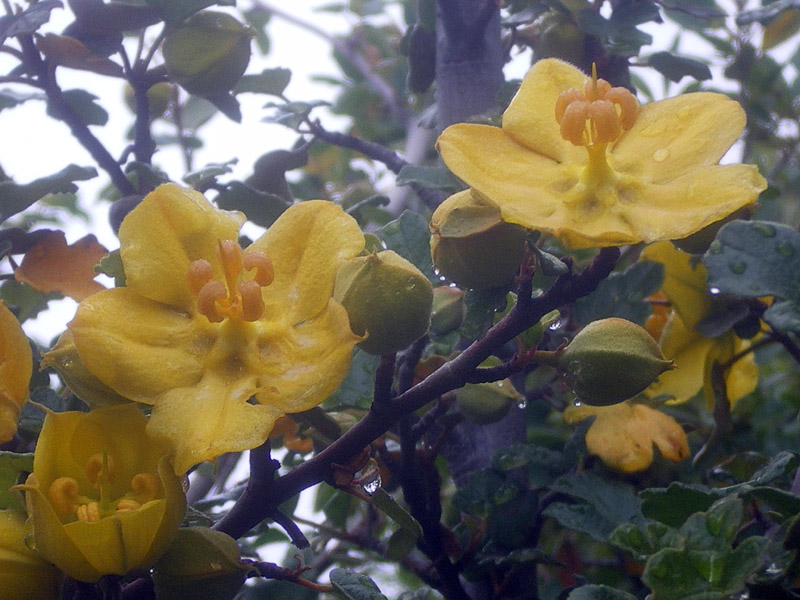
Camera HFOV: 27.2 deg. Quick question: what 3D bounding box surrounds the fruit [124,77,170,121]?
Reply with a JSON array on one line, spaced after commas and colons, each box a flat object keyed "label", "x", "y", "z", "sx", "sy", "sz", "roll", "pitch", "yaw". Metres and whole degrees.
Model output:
[{"label": "fruit", "x": -0.589, "y": -0.487, "z": 3.855, "sx": 0.112, "sy": 0.032, "sz": 0.109, "roll": -16, "pitch": -56, "yaw": -19}]

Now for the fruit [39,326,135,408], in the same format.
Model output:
[{"label": "fruit", "x": -0.610, "y": 0.147, "z": 3.156, "sx": 0.132, "sy": 0.202, "sz": 0.072, "roll": -22, "pitch": -19, "yaw": -9}]

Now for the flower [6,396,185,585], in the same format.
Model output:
[{"label": "flower", "x": -0.542, "y": 0.395, "z": 3.052, "sx": 0.326, "sy": 0.347, "sz": 0.303, "roll": 14, "pitch": -52, "yaw": -9}]

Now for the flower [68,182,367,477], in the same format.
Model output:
[{"label": "flower", "x": -0.345, "y": 0.044, "z": 3.053, "sx": 0.556, "sy": 0.565, "sz": 0.236, "roll": 3, "pitch": -15, "yaw": 1}]
